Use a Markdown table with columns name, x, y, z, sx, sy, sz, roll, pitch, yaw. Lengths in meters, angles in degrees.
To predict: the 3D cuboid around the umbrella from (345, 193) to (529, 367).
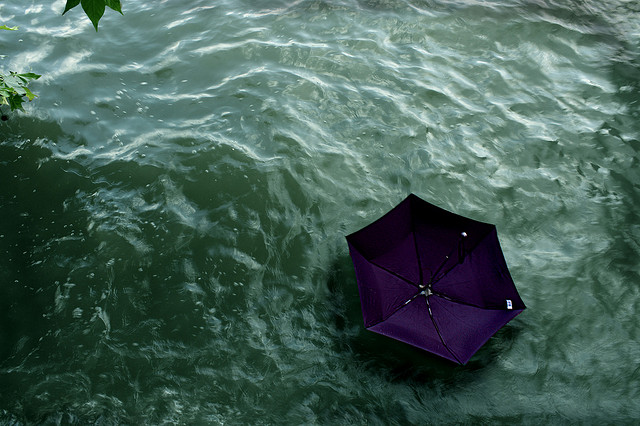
| name | x | y | z | sx | sy | sz | roll | pitch | yaw |
| --- | --- | --- | --- | --- | --- | --- | --- | --- | --- |
| umbrella | 2.007 | 0.653 | 9.729 | 2.305 | 2.500 | 1.704 | -9 | 28 | 51 |
